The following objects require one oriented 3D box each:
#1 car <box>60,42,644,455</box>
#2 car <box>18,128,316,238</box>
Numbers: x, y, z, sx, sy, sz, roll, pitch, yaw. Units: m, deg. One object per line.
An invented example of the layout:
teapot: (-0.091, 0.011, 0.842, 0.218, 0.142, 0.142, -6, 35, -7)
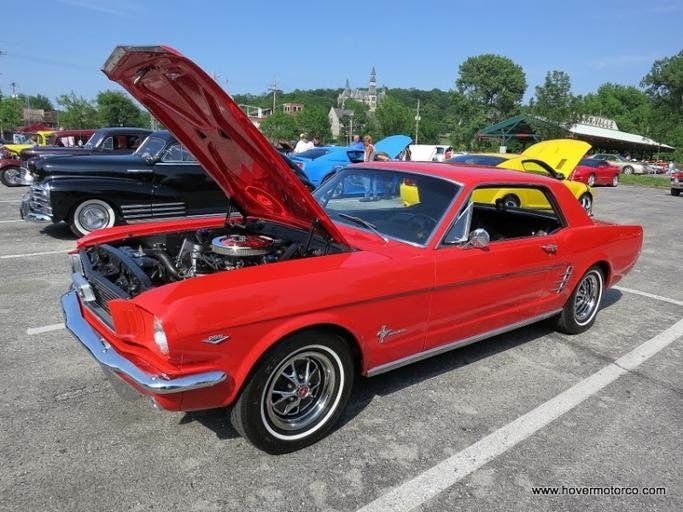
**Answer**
car: (0.506, -0.325, 4.372, 5.636, 1.942, 2.802, -7, 20, -29)
car: (-3.035, -1.315, 9.040, 6.175, 1.548, 2.288, -2, 11, -28)
